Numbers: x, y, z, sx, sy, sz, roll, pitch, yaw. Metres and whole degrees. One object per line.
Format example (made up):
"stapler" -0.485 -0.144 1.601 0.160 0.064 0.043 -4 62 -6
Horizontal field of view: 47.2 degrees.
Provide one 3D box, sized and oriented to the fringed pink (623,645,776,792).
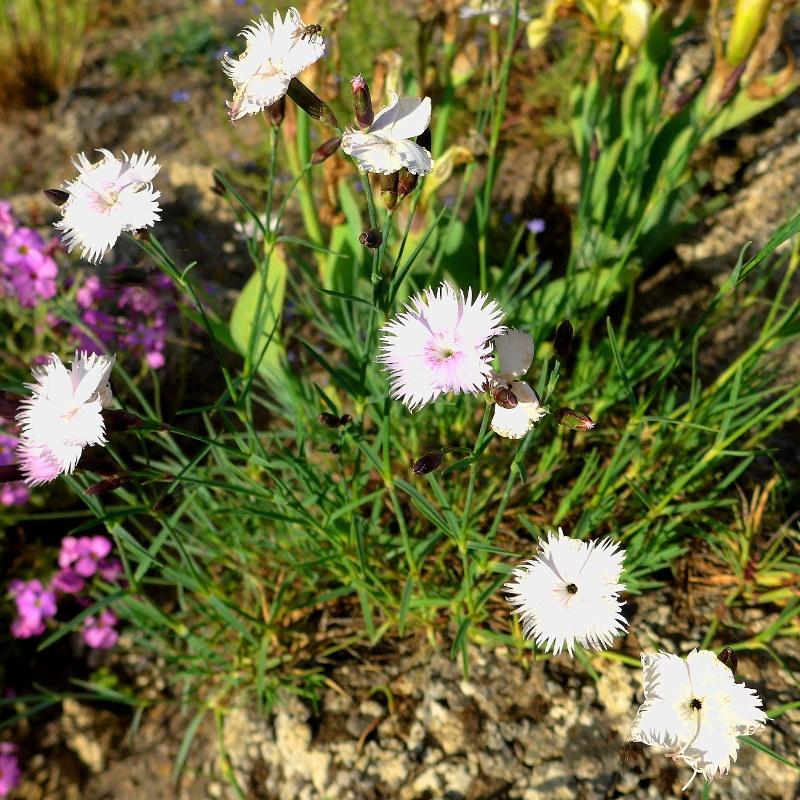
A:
"fringed pink" 0.528 0.551 1.667 0.244 0.069 0.252 42 93 5
